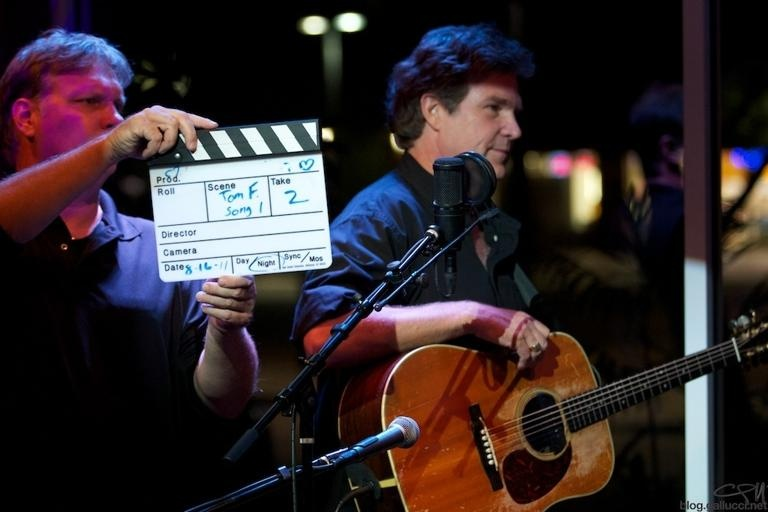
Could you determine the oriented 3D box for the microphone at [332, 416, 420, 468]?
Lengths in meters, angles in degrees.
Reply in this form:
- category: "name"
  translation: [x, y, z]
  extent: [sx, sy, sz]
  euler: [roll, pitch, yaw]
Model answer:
- category: "microphone"
  translation: [0.016, 0.754, 3.758]
  extent: [0.140, 0.146, 0.524]
  euler: [10, 14, 43]
